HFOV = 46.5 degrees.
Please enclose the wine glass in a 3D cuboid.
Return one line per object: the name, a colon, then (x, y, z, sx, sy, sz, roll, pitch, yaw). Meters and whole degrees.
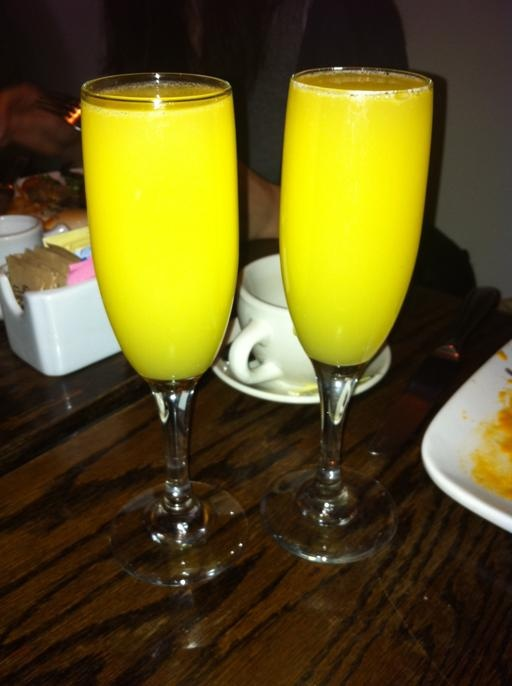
wine glass: (0.000, -0.012, 0.420, 0.235, 0.325, 0.214, -7, 36, -10)
